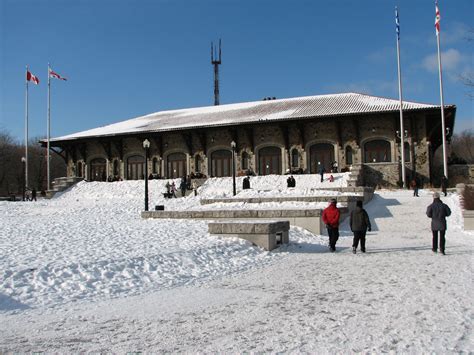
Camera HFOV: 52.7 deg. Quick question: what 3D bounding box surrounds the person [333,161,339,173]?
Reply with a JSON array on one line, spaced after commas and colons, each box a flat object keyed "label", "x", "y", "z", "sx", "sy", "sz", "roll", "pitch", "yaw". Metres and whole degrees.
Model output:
[{"label": "person", "x": 6.736, "y": -0.716, "z": 32.389, "sx": 0.239, "sy": 0.830, "sz": 0.295, "roll": 6, "pitch": -39, "yaw": 5}]

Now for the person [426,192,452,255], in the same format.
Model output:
[{"label": "person", "x": 5.551, "y": 1.204, "z": 13.116, "sx": 0.564, "sy": 1.620, "sz": 1.821, "roll": 2, "pitch": 5, "yaw": 23}]

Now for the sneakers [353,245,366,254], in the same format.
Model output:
[{"label": "sneakers", "x": 3.362, "y": 1.973, "z": 13.123, "sx": 0.387, "sy": 0.281, "sz": 0.161, "roll": -4, "pitch": 1, "yaw": -2}]

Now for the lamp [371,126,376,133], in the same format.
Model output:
[{"label": "lamp", "x": 9.581, "y": -3.374, "z": 33.204, "sx": 0.319, "sy": 0.469, "sz": 0.301, "roll": -3, "pitch": -5, "yaw": 28}]

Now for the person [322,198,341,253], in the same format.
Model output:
[{"label": "person", "x": 2.752, "y": 1.377, "z": 13.895, "sx": 0.463, "sy": 1.527, "sz": 0.671, "roll": 1, "pitch": 4, "yaw": 12}]

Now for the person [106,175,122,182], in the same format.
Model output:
[{"label": "person", "x": -10.184, "y": 0.088, "z": 39.327, "sx": 0.781, "sy": 0.439, "sz": 1.073, "roll": 1, "pitch": -2, "yaw": -1}]

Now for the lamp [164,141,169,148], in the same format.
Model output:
[{"label": "lamp", "x": -5.798, "y": -2.727, "z": 39.023, "sx": 0.308, "sy": 0.667, "sz": 0.342, "roll": 1, "pitch": 2, "yaw": 24}]

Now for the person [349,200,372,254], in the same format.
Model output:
[{"label": "person", "x": 3.562, "y": 1.363, "z": 13.747, "sx": 0.564, "sy": 1.502, "sz": 1.722, "roll": 1, "pitch": 4, "yaw": 15}]

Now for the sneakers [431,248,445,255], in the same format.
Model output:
[{"label": "sneakers", "x": 5.346, "y": 1.962, "z": 12.539, "sx": 0.097, "sy": 0.146, "sz": 0.316, "roll": 0, "pitch": -15, "yaw": -5}]
